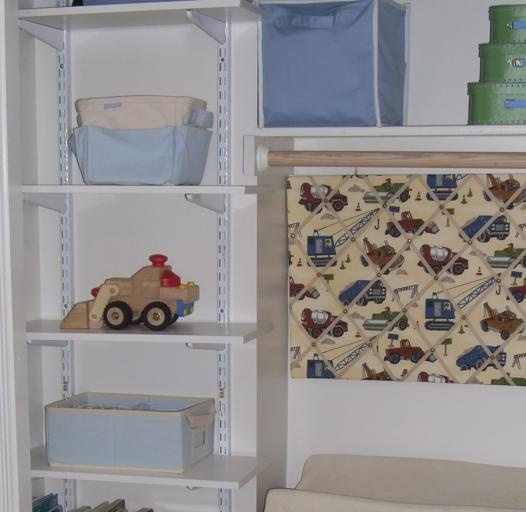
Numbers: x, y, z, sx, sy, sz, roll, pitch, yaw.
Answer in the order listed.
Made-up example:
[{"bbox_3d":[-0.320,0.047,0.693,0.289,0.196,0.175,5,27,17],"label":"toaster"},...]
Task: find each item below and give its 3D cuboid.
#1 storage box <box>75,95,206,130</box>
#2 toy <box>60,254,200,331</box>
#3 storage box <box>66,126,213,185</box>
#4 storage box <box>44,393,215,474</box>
[{"bbox_3d":[-0.334,-0.393,2.567,0.357,0.097,0.105,-2,-11,-5],"label":"storage box"},{"bbox_3d":[-0.371,0.110,2.788,0.392,0.227,0.185,1,-1,7],"label":"toy"},{"bbox_3d":[-0.340,-0.260,2.613,0.250,0.106,0.197,1,3,14],"label":"storage box"},{"bbox_3d":[-0.382,0.486,2.700,0.396,0.146,0.223,2,-2,8],"label":"storage box"}]
